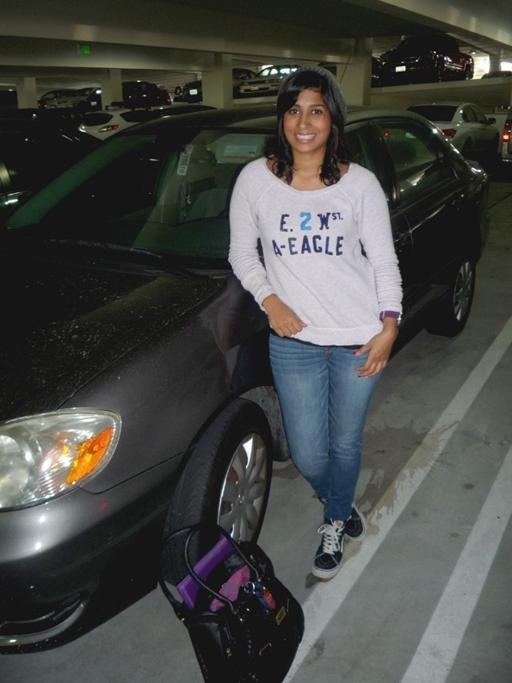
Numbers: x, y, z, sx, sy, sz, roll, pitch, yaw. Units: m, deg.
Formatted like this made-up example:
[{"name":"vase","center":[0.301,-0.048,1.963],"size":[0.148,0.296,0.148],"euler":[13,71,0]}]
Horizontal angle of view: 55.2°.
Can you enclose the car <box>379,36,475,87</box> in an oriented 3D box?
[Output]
[{"name":"car","center":[5.910,-9.936,17.277],"size":[3.045,1.318,1.772],"euler":[-1,54,6]}]

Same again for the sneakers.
[{"name":"sneakers","center":[0.339,0.748,1.978],"size":[0.116,0.157,0.376],"euler":[13,33,21]}]

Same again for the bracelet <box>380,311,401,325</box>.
[{"name":"bracelet","center":[0.402,-0.070,1.442],"size":[0.040,0.040,0.039],"euler":[-2,2,33]}]

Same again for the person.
[{"name":"person","center":[0.197,-0.005,1.571],"size":[0.528,1.529,0.406],"euler":[0,15,17]}]
